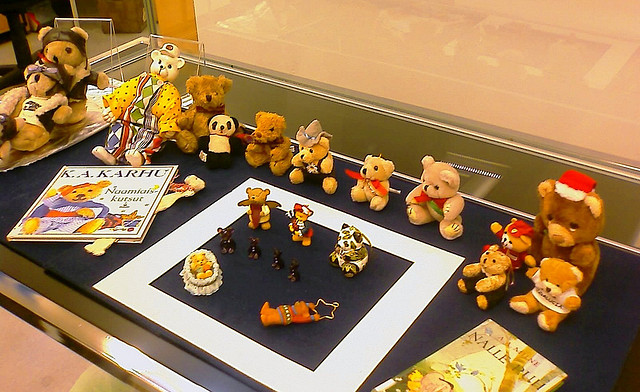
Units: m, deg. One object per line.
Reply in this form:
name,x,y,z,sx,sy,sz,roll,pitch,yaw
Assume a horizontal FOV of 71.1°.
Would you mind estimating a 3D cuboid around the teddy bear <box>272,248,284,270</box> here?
teddy bear,-0.169,0.239,1.696,0.044,0.062,0.037,-14,41,-28

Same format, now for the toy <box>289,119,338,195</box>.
toy,-0.022,-0.185,1.975,0.250,0.279,0.205,19,42,33

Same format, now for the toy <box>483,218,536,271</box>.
toy,0.710,0.185,1.669,0.097,0.128,0.135,-14,45,-16

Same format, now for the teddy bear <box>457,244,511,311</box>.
teddy bear,0.618,0.283,1.638,0.178,0.209,0.172,-5,20,-5

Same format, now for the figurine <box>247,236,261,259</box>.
figurine,-0.266,0.200,1.733,0.053,0.074,0.054,5,34,3

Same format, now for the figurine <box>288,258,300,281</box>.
figurine,-0.106,0.274,1.660,0.043,0.076,0.040,22,34,26

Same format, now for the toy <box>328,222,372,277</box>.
toy,0.105,0.193,1.706,0.148,0.177,0.139,18,30,29

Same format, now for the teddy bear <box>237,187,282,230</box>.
teddy bear,-0.257,0.050,1.812,0.193,0.169,0.074,4,16,12

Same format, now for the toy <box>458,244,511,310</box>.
toy,0.615,0.287,1.631,0.180,0.202,0.173,-2,21,-1

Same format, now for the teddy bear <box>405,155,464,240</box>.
teddy bear,0.477,-0.001,1.792,0.187,0.289,0.265,-29,38,-29

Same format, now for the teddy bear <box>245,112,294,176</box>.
teddy bear,-0.242,-0.252,2.056,0.209,0.254,0.202,16,34,21

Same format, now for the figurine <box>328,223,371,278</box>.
figurine,0.107,0.196,1.710,0.144,0.177,0.133,19,23,40

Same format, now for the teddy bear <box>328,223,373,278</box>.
teddy bear,0.115,0.192,1.708,0.138,0.175,0.145,-14,29,-32

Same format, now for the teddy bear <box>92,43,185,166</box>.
teddy bear,-0.858,-0.427,2.100,0.396,0.548,0.468,24,26,20

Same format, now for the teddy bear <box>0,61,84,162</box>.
teddy bear,-1.325,-0.394,2.058,0.217,0.397,0.332,10,33,-1

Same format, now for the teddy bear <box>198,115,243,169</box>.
teddy bear,-0.488,-0.252,2.096,0.239,0.274,0.111,4,-14,-9

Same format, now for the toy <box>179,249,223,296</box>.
toy,-0.447,0.278,1.657,0.153,0.043,0.166,-14,55,-27

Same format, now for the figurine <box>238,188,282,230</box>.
figurine,-0.261,0.048,1.812,0.194,0.165,0.079,5,15,16

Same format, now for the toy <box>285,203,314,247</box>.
toy,-0.088,0.110,1.771,0.114,0.159,0.090,12,27,21

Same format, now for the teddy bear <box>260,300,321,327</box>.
teddy bear,-0.120,0.404,1.537,0.185,0.069,0.085,-2,40,-11

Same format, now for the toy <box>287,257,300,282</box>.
toy,-0.107,0.274,1.662,0.039,0.069,0.040,30,43,25

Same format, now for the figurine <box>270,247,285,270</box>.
figurine,-0.172,0.237,1.702,0.043,0.059,0.035,-17,49,-25

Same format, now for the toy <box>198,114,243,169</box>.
toy,-0.490,-0.256,2.097,0.244,0.280,0.105,4,-12,-10

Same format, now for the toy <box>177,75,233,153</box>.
toy,-0.570,-0.386,2.115,0.268,0.337,0.213,-5,43,-29

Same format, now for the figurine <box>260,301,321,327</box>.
figurine,-0.108,0.385,1.535,0.187,0.069,0.084,-2,40,-9

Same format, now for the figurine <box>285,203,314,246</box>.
figurine,-0.087,0.108,1.774,0.109,0.161,0.099,15,27,31

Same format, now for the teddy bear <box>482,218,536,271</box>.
teddy bear,0.709,0.185,1.671,0.098,0.129,0.134,-13,46,-17

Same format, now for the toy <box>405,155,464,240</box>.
toy,0.477,0.001,1.796,0.179,0.298,0.268,-30,37,-29

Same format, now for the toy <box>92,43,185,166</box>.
toy,-0.908,-0.432,2.193,0.424,0.522,0.448,26,38,4

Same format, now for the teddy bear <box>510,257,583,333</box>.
teddy bear,0.798,0.334,1.560,0.176,0.220,0.212,-19,34,-24

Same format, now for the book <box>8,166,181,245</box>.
book,-0.964,0.020,1.920,0.546,0.191,0.416,7,32,-5

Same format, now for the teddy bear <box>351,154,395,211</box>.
teddy bear,0.215,-0.064,1.910,0.174,0.213,0.150,23,34,39

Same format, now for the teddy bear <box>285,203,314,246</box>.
teddy bear,-0.087,0.109,1.777,0.119,0.160,0.091,10,26,21

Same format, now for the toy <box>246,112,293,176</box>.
toy,-0.247,-0.257,2.056,0.223,0.262,0.207,13,34,14

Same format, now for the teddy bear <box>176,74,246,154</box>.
teddy bear,-0.550,-0.390,2.129,0.374,0.346,0.213,-12,39,-37

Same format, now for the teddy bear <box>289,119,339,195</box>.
teddy bear,-0.031,-0.161,1.989,0.248,0.280,0.193,18,43,22

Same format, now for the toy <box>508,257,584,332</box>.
toy,0.802,0.334,1.555,0.172,0.227,0.207,-23,35,-32

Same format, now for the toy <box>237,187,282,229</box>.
toy,-0.263,0.052,1.814,0.193,0.168,0.079,4,15,14

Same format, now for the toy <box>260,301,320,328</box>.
toy,-0.114,0.402,1.579,0.187,0.069,0.081,-2,39,-9

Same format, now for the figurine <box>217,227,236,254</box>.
figurine,-0.376,0.166,1.750,0.076,0.102,0.071,-8,11,-20

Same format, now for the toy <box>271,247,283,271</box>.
toy,-0.173,0.239,1.698,0.040,0.066,0.039,-16,43,-30

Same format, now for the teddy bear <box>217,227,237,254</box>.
teddy bear,-0.375,0.166,1.753,0.067,0.097,0.067,0,13,27
